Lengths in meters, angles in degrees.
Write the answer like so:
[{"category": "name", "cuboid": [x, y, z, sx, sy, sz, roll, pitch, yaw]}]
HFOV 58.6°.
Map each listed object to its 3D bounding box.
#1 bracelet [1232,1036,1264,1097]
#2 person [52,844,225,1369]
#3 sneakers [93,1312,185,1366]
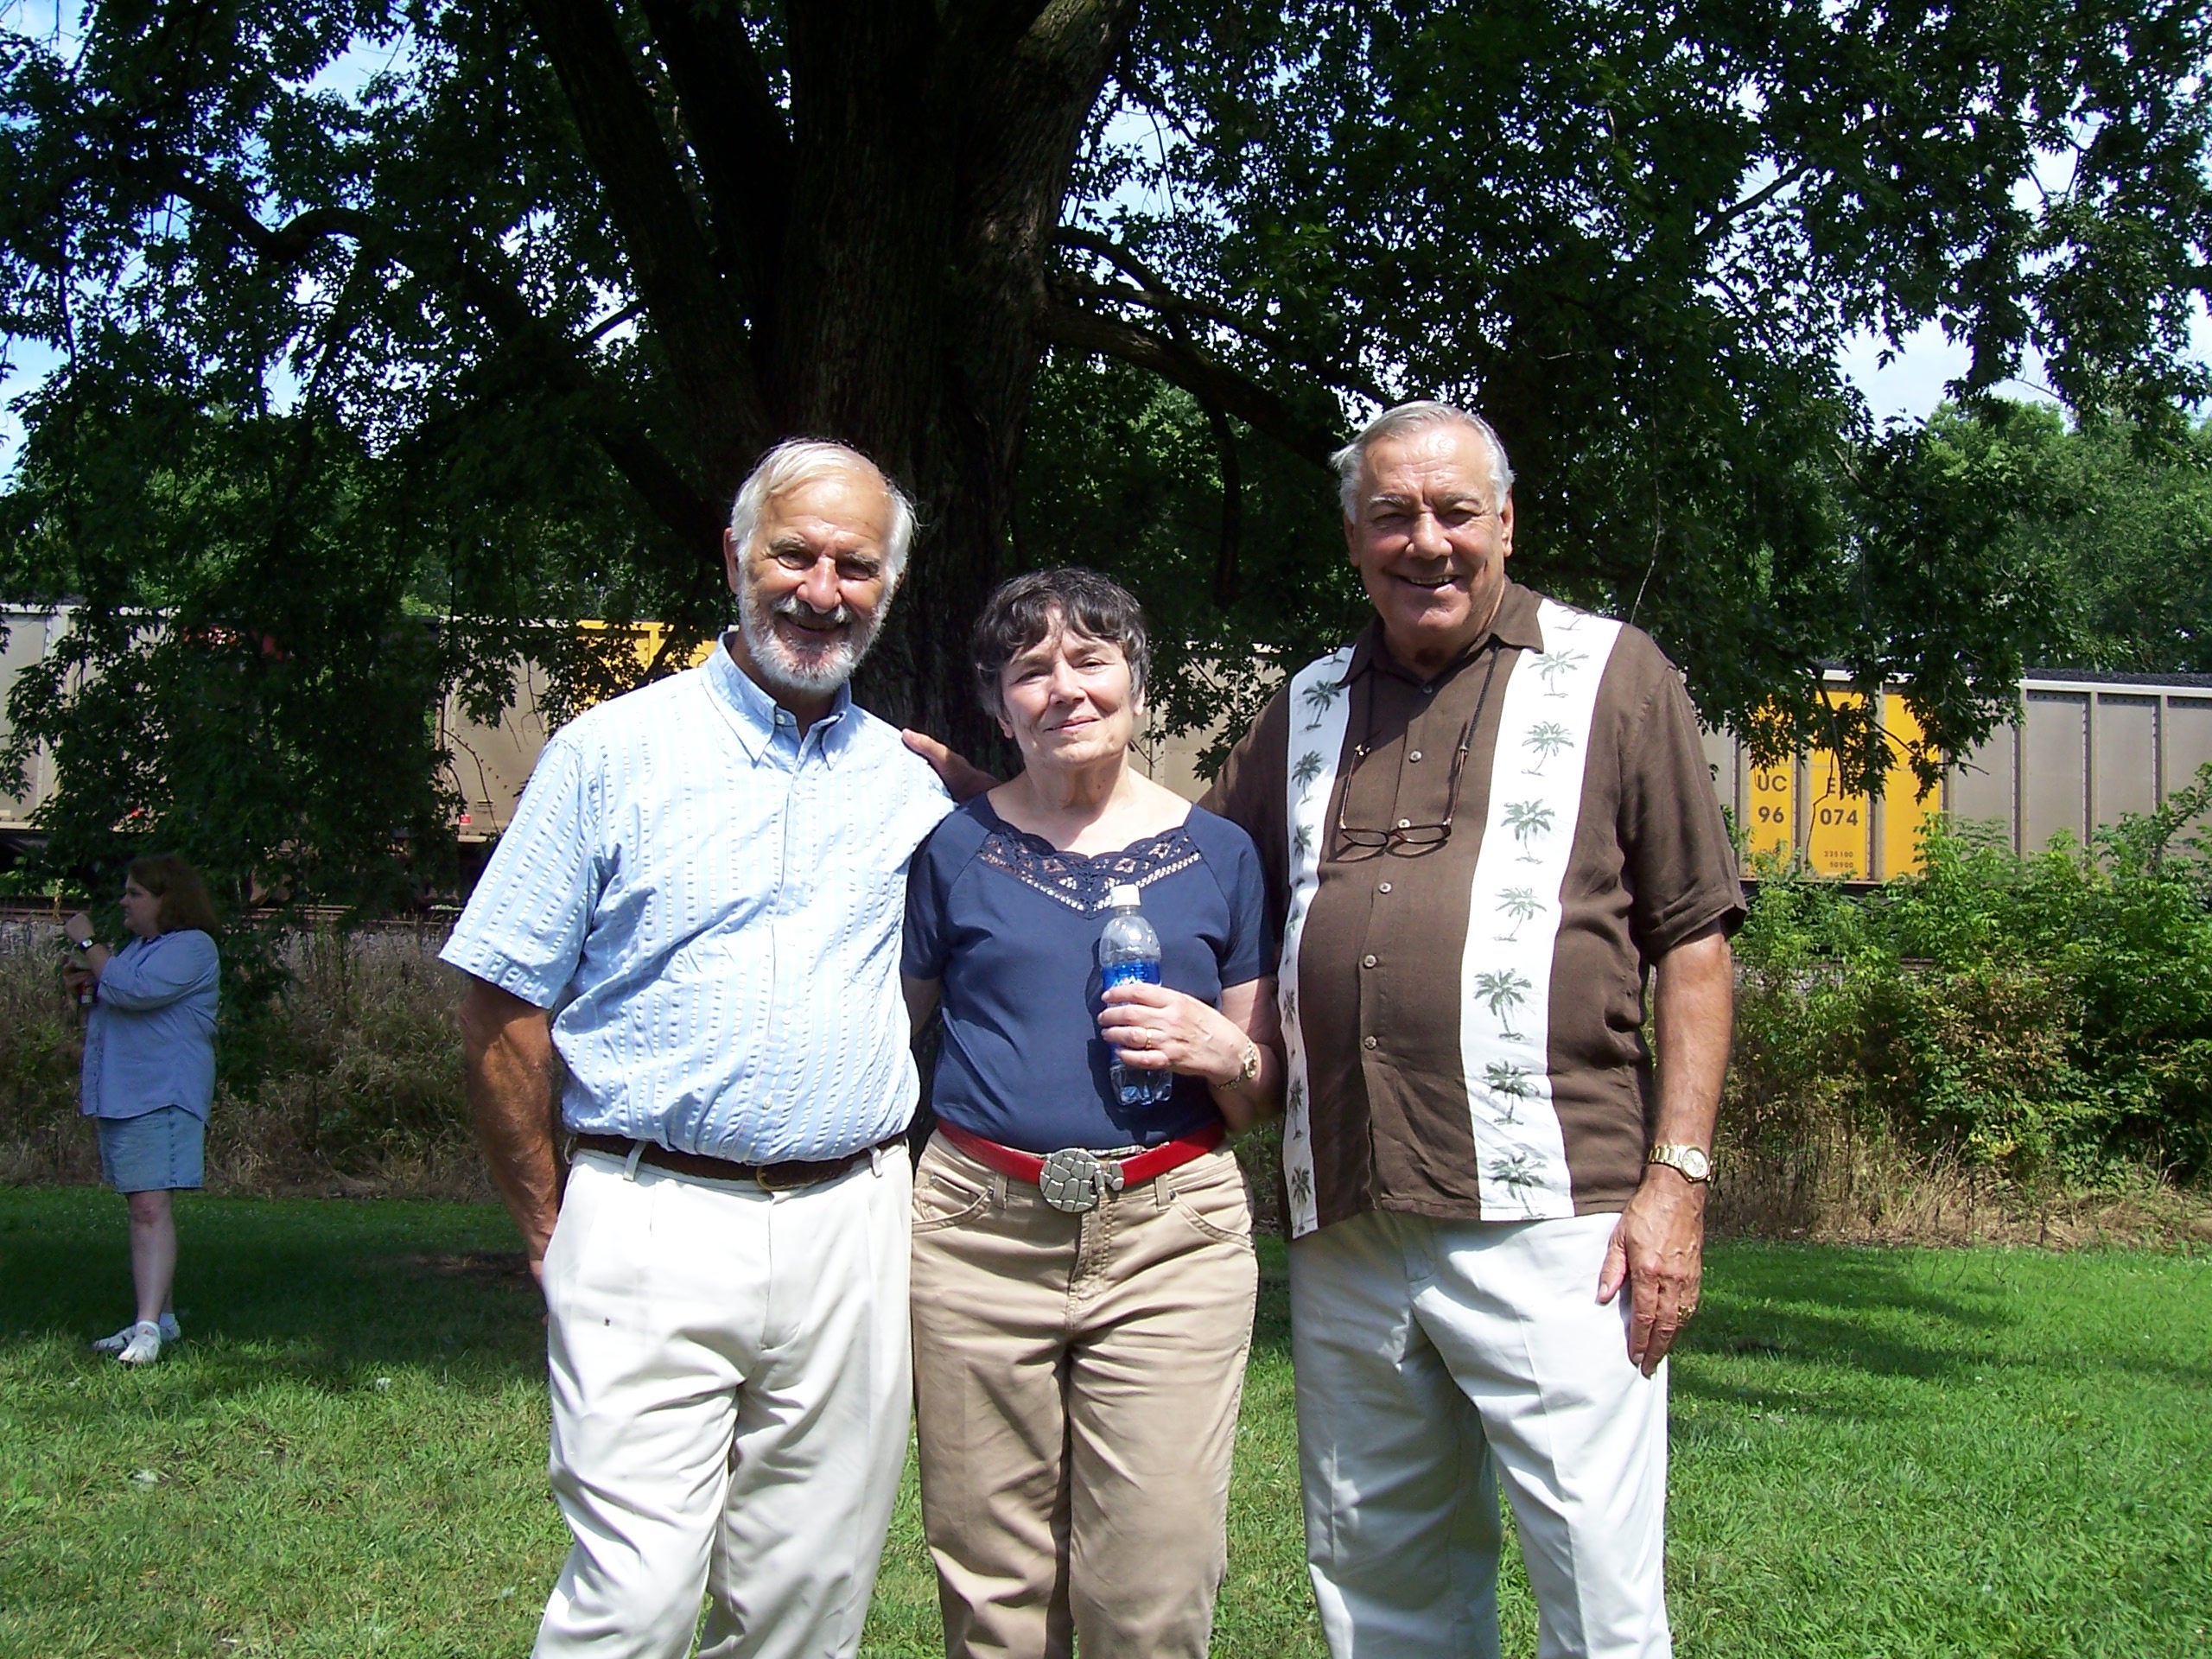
[{"category": "bracelet", "cuboid": [0.362, 0.602, 4.943, 0.028, 0.102, 0.098, 7, 9, 39]}, {"category": "person", "cuboid": [-4.388, 1.249, 9.013, 0.585, 2.250, 1.143, 2, -5, -32]}, {"category": "sneakers", "cuboid": [-4.238, 2.281, 8.712, 0.184, 0.126, 0.307, 4, -8, 22]}]
